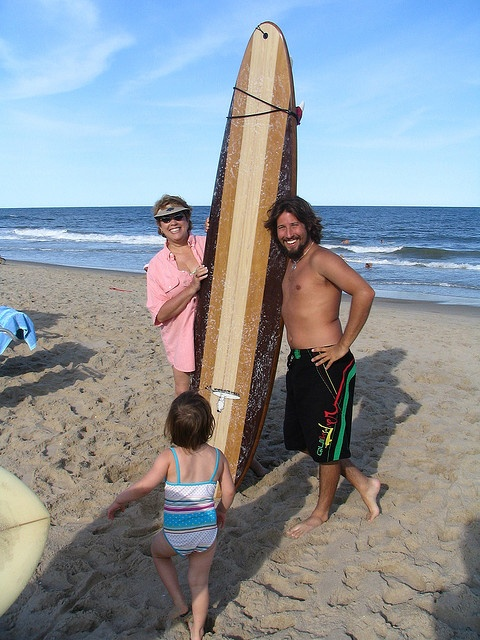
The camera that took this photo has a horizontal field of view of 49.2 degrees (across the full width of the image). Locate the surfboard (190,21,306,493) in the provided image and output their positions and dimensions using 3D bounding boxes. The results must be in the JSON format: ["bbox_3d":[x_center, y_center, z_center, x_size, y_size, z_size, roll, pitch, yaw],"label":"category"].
[{"bbox_3d":[0.026,-0.437,3.102,0.573,2.773,0.306,4,4,14],"label":"surfboard"}]

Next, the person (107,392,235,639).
[{"bbox_3d":[-0.259,0.767,2.128,0.417,0.988,0.295,7,13,25],"label":"person"}]

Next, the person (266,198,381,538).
[{"bbox_3d":[0.411,0.251,2.784,0.639,1.771,0.468,10,15,36],"label":"person"}]

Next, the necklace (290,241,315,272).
[{"bbox_3d":[0.327,-0.328,2.769,0.040,0.210,0.062,-5,53,-54],"label":"necklace"}]

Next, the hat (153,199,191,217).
[{"bbox_3d":[-0.378,-0.621,2.976,0.220,0.075,0.118,-2,12,-17],"label":"hat"}]
